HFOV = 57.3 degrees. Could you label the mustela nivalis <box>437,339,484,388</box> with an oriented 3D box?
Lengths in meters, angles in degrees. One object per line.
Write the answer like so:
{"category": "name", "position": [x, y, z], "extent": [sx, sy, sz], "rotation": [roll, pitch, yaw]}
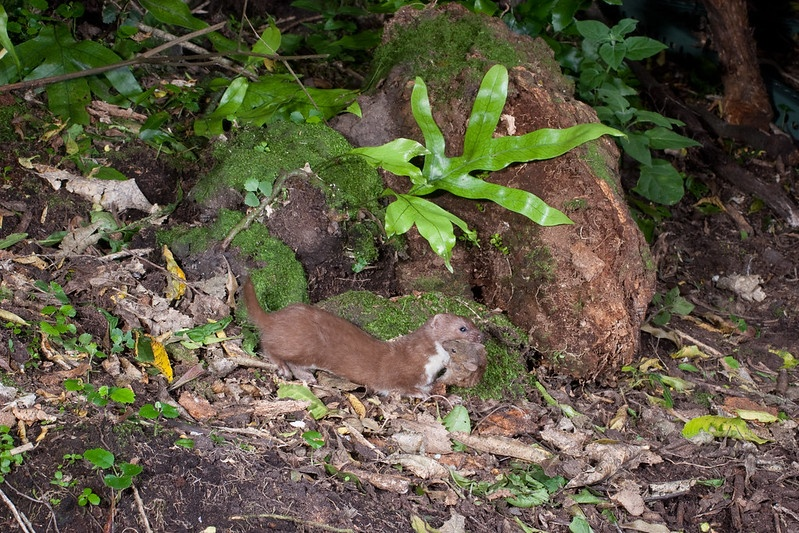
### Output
{"category": "mustela nivalis", "position": [0.524, 0.828, 6.183], "extent": [0.378, 0.347, 0.170], "rotation": [-5, 22, 22]}
